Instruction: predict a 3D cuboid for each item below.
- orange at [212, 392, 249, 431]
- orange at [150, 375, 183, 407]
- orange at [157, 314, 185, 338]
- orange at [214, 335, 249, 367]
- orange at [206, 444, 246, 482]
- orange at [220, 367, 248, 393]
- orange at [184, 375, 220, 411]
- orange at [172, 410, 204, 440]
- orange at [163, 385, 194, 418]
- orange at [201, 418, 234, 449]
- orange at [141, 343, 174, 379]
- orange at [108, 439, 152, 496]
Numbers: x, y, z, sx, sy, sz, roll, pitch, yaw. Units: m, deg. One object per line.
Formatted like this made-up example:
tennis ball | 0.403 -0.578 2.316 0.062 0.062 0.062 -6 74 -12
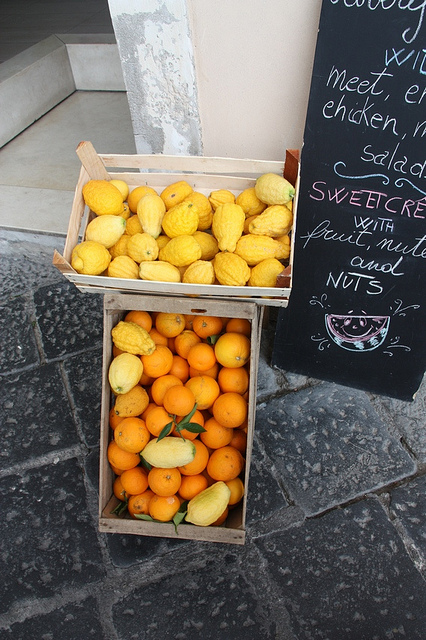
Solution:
orange | 0.055 0.289 1.662 0.121 0.120 0.136 -6 95 4
orange | -0.140 0.238 1.700 0.101 0.099 0.111 6 74 14
orange | -0.140 0.017 1.704 0.080 0.080 0.081 20 40 -15
orange | 0.062 0.096 1.690 0.101 0.095 0.116 18 9 -23
orange | 0.042 0.474 1.658 0.118 0.104 0.089 -17 42 -14
orange | 0.070 0.196 1.725 0.087 0.101 0.084 10 81 -1
orange | -0.024 0.230 1.659 0.107 0.106 0.120 -2 30 2
orange | -0.081 0.338 1.654 0.090 0.087 0.085 11 56 -13
orange | -0.104 0.253 1.622 0.092 0.084 0.099 -18 53 24
orange | 0.012 0.373 1.704 0.094 0.111 0.092 22 77 1
orange | -0.184 0.135 1.652 0.077 0.074 0.076 -38 52 -9
orange | -0.259 0.532 1.697 0.068 0.148 0.077 -23 79 2
